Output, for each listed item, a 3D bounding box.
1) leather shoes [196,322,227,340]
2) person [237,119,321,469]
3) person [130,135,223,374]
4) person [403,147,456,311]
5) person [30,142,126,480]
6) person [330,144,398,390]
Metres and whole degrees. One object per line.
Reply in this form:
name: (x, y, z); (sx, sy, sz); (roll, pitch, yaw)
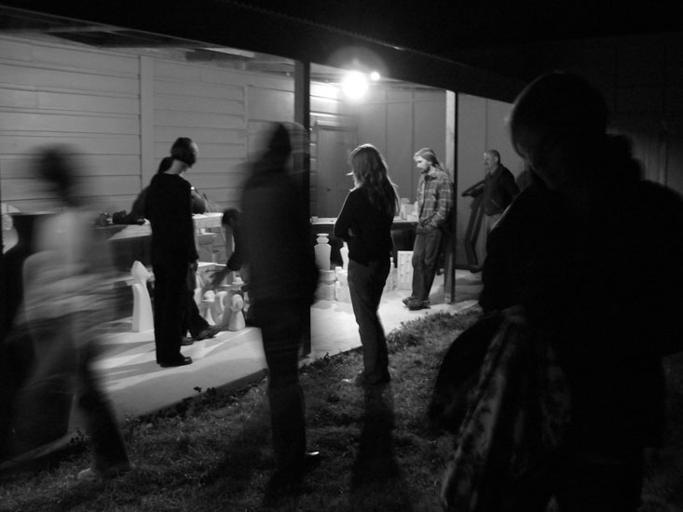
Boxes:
leather shoes: (-1.423, 0.811, 5.698); (0.092, 0.107, 0.256); (3, 10, 30)
person: (-0.334, 0.272, 2.931); (0.404, 1.974, 0.262); (-3, 9, -12)
person: (-1.550, -0.030, 4.940); (0.524, 2.075, 0.705); (-2, 9, -4)
person: (1.154, -0.357, 7.027); (0.654, 2.074, 0.614); (3, 10, 22)
person: (-1.520, 0.357, 3.025); (0.467, 1.930, 0.201); (-4, 9, -16)
person: (0.196, 0.092, 4.334); (0.492, 1.949, 0.388); (0, 9, 6)
